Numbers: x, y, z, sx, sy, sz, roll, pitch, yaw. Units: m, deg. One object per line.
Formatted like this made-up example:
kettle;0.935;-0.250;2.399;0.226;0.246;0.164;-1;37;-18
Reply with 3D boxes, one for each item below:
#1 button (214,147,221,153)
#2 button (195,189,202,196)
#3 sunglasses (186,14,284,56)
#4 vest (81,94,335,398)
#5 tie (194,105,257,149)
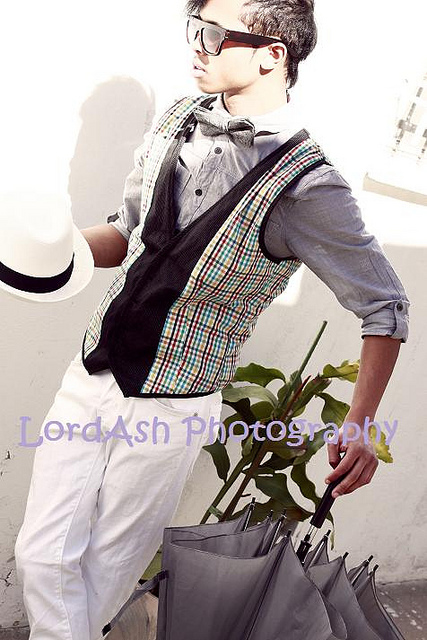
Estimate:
button;0.006;-0.291;0.995;0.014;0.010;0.004;22;13;28
button;-0.026;-0.217;0.994;0.012;0.011;0.003;0;-3;0
sunglasses;0.022;-0.489;1.018;0.183;0.070;0.066;17;12;11
vest;-0.045;-0.121;1.109;0.397;0.499;0.307;29;14;38
tie;0.009;-0.350;1.041;0.070;0.070;0.177;7;13;-37
